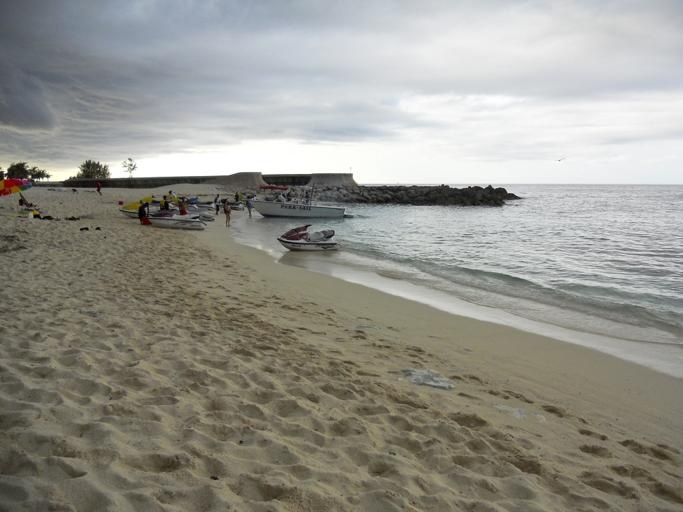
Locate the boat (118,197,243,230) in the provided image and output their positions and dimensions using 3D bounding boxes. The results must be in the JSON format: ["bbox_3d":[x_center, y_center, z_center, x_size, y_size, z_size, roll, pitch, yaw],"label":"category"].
[{"bbox_3d":[-9.427,-2.436,27.733,4.199,1.506,8.602,0,8,-14],"label":"boat"}]

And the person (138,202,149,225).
[{"bbox_3d":[-9.219,-1.954,23.819,0.494,0.985,0.791,0,11,-20],"label":"person"}]
